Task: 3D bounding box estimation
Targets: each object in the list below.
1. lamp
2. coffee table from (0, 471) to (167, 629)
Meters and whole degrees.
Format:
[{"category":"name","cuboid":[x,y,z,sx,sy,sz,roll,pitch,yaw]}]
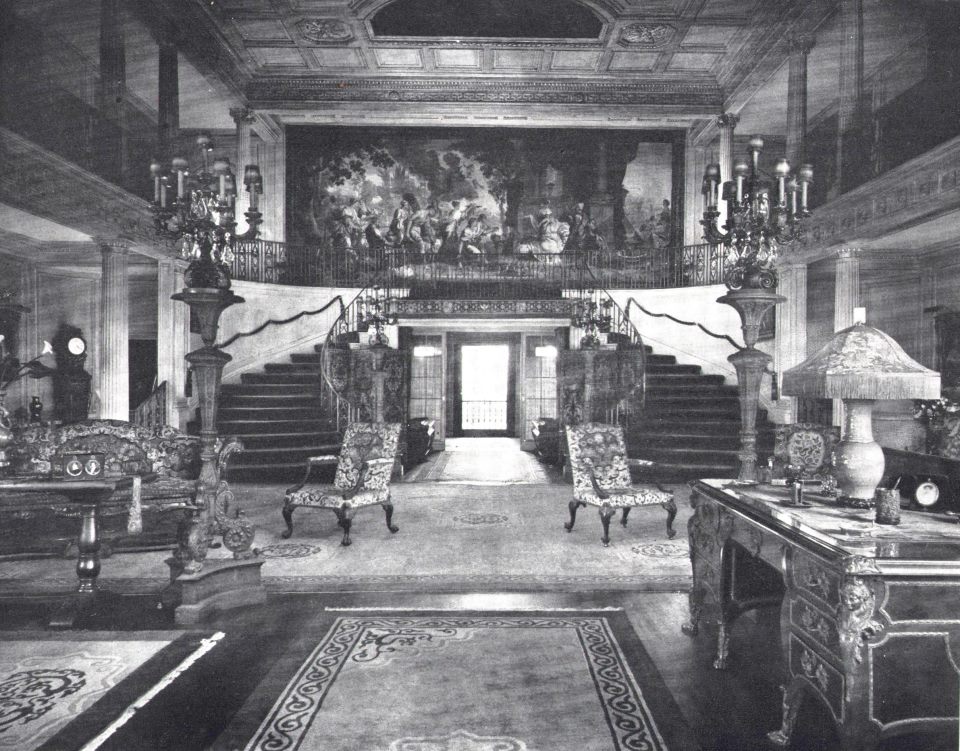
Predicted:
[{"category":"lamp","cuboid":[2.423,0.261,6.469,1.096,1.612,1.079,0,-2,-5]},{"category":"coffee table","cuboid":[-3.196,1.373,7.809,1.038,1.114,1.158,1,-2,-7]}]
